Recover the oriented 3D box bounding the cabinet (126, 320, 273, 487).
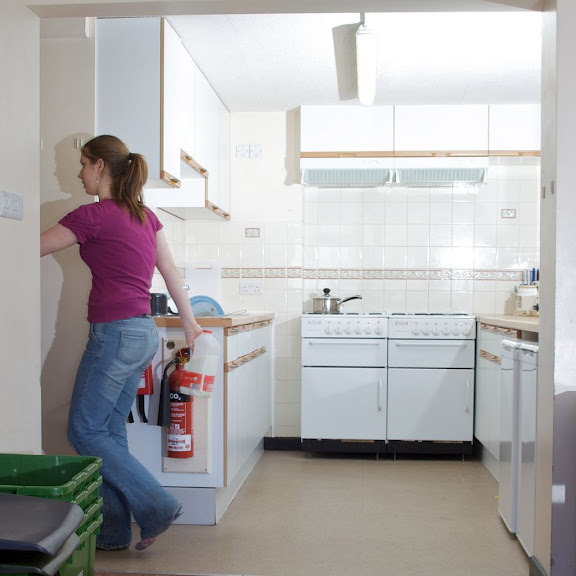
[{"bbox_3d":[-0.393,0.539,3.048,0.494,0.729,0.998,0,0,11],"label":"cabinet"}]

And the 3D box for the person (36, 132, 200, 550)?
[{"bbox_3d":[-0.641,0.228,2.107,0.596,1.581,0.300,2,-3,-27],"label":"person"}]

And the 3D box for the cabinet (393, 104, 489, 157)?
[{"bbox_3d":[1.090,-1.135,3.958,0.764,0.357,0.259,4,4,10],"label":"cabinet"}]

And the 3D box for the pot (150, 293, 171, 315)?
[{"bbox_3d":[-0.607,0.072,2.629,0.063,0.105,0.115,0,-3,12],"label":"pot"}]

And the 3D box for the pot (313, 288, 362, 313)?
[{"bbox_3d":[0.343,0.093,4.006,0.308,0.174,0.461,1,-3,0],"label":"pot"}]
